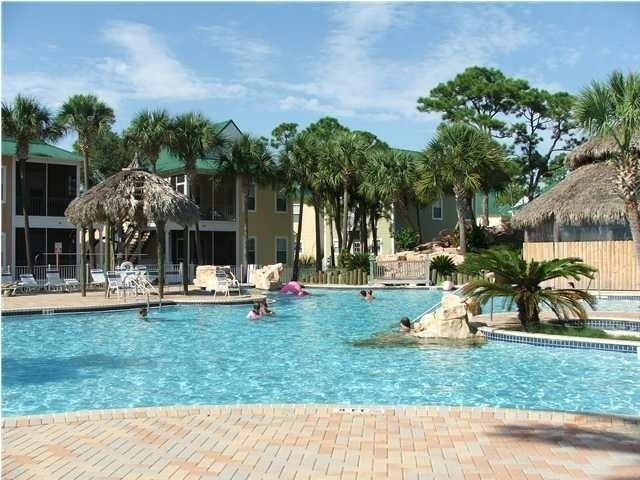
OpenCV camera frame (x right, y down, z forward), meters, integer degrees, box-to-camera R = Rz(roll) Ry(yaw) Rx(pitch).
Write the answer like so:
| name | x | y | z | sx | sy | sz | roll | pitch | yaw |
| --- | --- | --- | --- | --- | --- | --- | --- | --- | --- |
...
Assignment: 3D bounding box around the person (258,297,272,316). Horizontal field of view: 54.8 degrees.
| name | x | y | z | sx | sy | sz | roll | pitch | yaw |
| --- | --- | --- | --- | --- | --- | --- | --- | --- | --- |
| person | -1.861 | 2.211 | 20.649 | 0.275 | 0.837 | 0.279 | -4 | 2 | 40 |
